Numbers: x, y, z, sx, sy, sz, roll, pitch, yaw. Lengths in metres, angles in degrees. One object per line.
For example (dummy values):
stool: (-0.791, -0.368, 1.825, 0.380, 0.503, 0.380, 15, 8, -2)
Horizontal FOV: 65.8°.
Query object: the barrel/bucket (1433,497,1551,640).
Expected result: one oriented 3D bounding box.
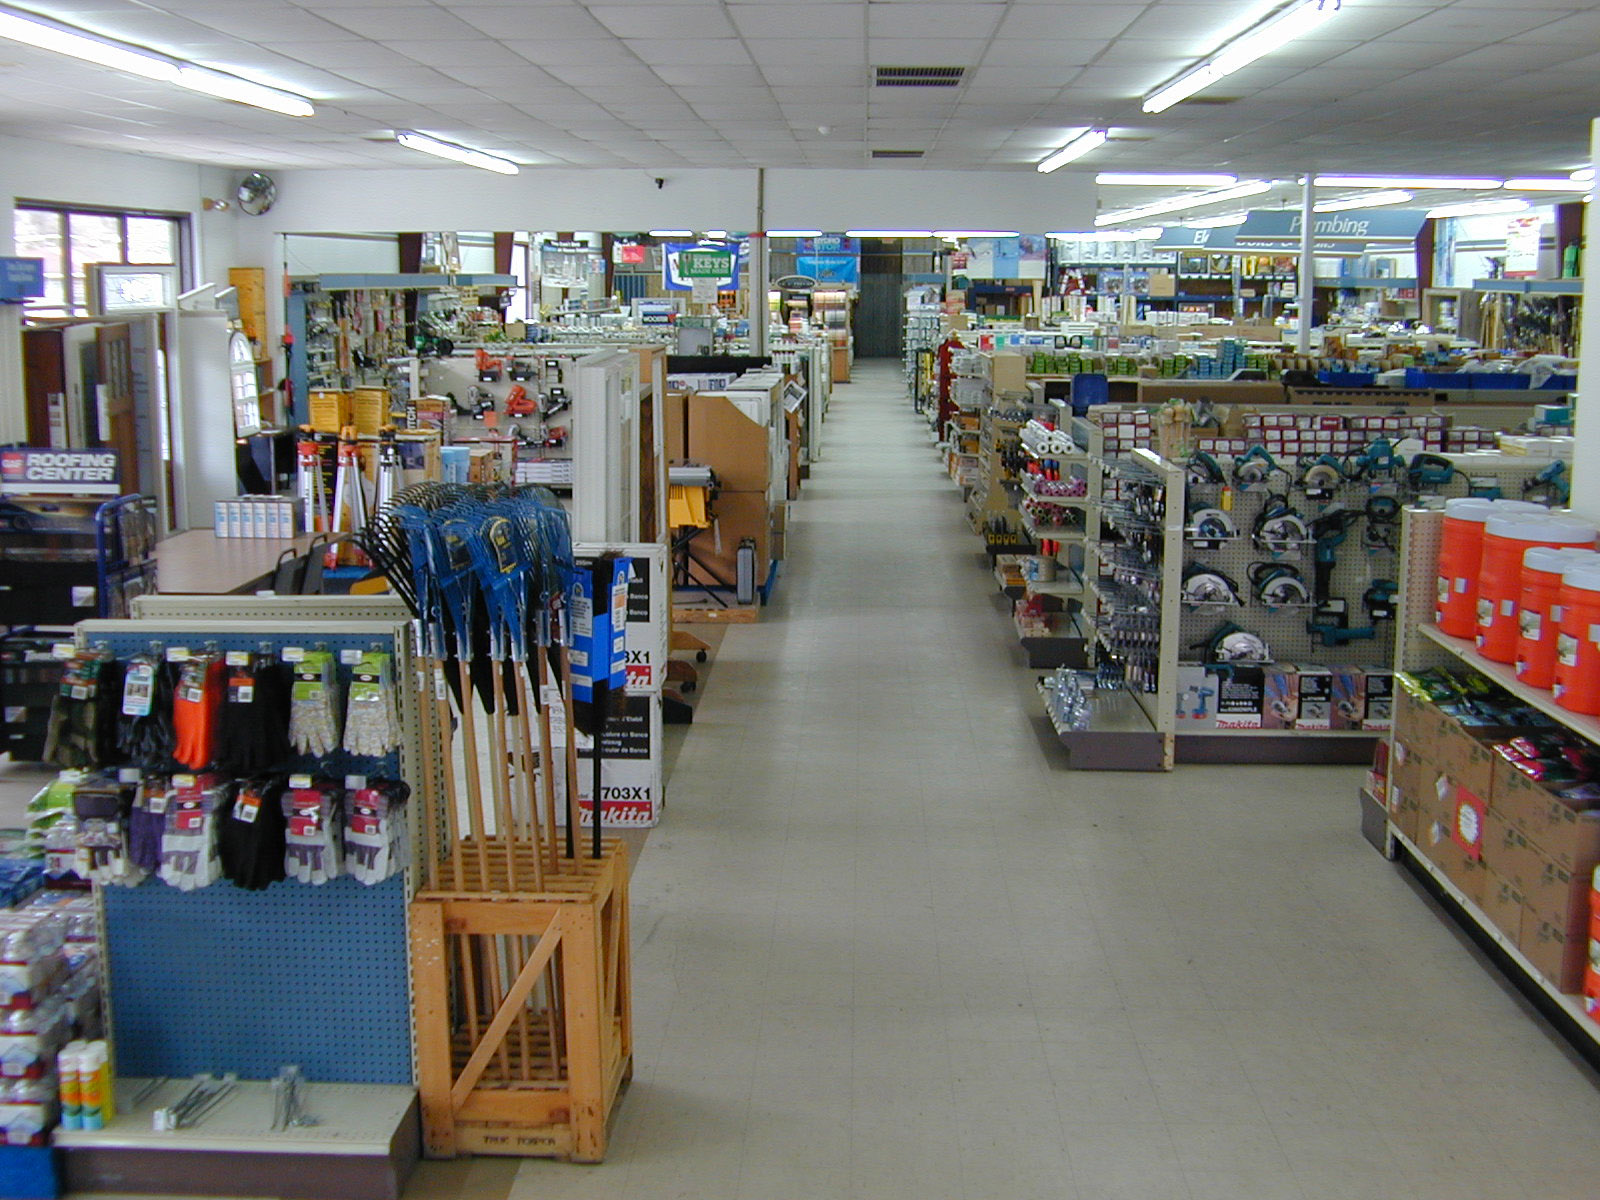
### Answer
barrel/bucket: (2.932, -0.160, 5.531, 0.541, 0.634, 0.565, 0, 6, 0)
